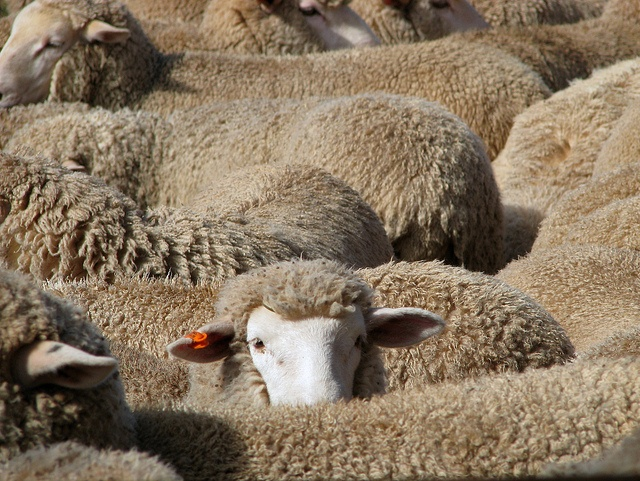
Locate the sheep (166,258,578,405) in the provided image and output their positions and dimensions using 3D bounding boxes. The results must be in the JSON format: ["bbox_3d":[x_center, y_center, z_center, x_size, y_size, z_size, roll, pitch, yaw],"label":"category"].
[{"bbox_3d":[0.304,0.519,7.882,1.648,0.997,0.690,-8,82,-23],"label":"sheep"}]
